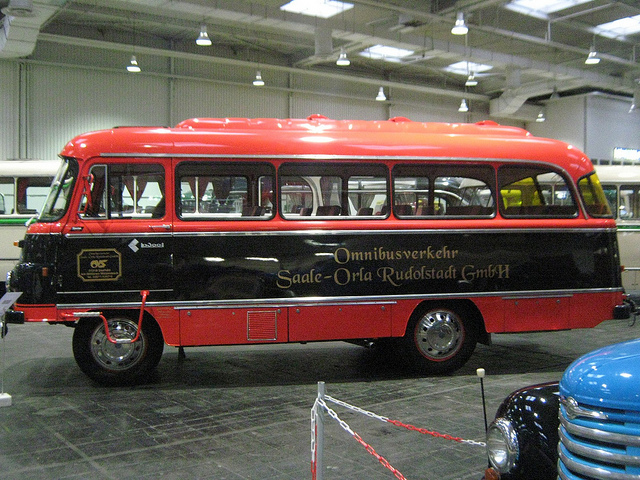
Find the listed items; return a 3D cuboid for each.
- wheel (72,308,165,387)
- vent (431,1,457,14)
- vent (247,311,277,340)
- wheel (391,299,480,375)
[{"bbox_3d":[-2.933,1.533,7.494,1.965,1.212,0.547,0,6,-3],"label":"wheel"},{"bbox_3d":[4.314,-8.269,18.350,0.728,0.466,0.150,10,41,13],"label":"vent"},{"bbox_3d":[-0.874,1.261,7.604,0.086,0.448,0.632,-14,-16,37],"label":"vent"},{"bbox_3d":[2.216,1.556,8.388,0.688,1.220,1.596,16,-22,-33],"label":"wheel"}]
